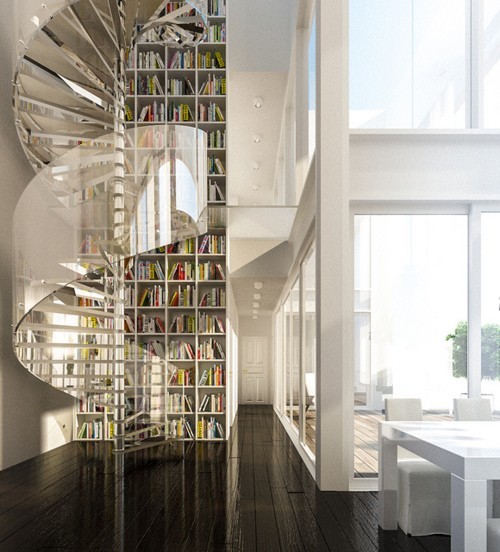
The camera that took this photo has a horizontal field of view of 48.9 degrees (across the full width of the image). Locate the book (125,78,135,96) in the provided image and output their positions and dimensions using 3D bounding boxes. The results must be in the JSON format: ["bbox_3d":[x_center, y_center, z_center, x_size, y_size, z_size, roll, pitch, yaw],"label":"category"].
[{"bbox_3d":[-1.653,-2.653,7.738,0.149,0.288,0.232,0,-1,-9],"label":"book"}]

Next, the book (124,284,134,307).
[{"bbox_3d":[-1.632,0.263,7.465,0.145,0.384,0.237,0,-5,-1],"label":"book"}]

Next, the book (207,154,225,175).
[{"bbox_3d":[-0.477,-1.540,7.708,0.213,0.455,0.265,0,-1,-9],"label":"book"}]

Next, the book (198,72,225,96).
[{"bbox_3d":[-0.506,-2.629,7.621,0.332,0.337,0.392,5,12,6],"label":"book"}]

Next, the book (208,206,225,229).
[{"bbox_3d":[-0.446,-0.818,7.429,0.199,0.337,0.019,1,5,-3],"label":"book"}]

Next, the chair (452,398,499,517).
[{"bbox_3d":[1.279,1.042,3.121,0.246,0.431,0.573,-1,-5,6],"label":"chair"}]

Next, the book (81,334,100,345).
[{"bbox_3d":[-1.791,0.722,6.205,0.180,0.129,0.413,0,-6,-17],"label":"book"}]

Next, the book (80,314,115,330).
[{"bbox_3d":[-1.818,0.548,6.538,0.353,0.155,1.148,0,-6,-19],"label":"book"}]

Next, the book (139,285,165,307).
[{"bbox_3d":[-1.330,0.287,7.545,0.240,0.355,0.068,0,-6,12],"label":"book"}]

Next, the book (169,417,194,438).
[{"bbox_3d":[-0.886,1.966,7.110,0.256,0.153,0.416,1,-9,-3],"label":"book"}]

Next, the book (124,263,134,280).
[{"bbox_3d":[-1.637,-0.065,7.499,0.062,0.228,0.139,-2,11,-32],"label":"book"}]

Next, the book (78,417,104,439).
[{"bbox_3d":[-2.120,2.056,7.366,0.214,0.314,0.087,-1,-4,10],"label":"book"}]

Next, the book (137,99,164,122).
[{"bbox_3d":[-1.364,-2.304,7.659,0.259,0.163,0.394,-2,-2,-7],"label":"book"}]

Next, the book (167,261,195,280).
[{"bbox_3d":[-0.955,-0.055,7.597,0.271,0.376,0.230,2,-3,0],"label":"book"}]

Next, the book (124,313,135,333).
[{"bbox_3d":[-1.622,0.631,7.467,0.065,0.283,0.161,-2,-4,41],"label":"book"}]

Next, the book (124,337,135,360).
[{"bbox_3d":[-1.489,0.898,6.751,0.153,0.295,0.257,1,-5,-4],"label":"book"}]

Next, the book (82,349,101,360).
[{"bbox_3d":[-1.968,0.951,6.783,0.210,0.135,0.165,1,-5,-28],"label":"book"}]
